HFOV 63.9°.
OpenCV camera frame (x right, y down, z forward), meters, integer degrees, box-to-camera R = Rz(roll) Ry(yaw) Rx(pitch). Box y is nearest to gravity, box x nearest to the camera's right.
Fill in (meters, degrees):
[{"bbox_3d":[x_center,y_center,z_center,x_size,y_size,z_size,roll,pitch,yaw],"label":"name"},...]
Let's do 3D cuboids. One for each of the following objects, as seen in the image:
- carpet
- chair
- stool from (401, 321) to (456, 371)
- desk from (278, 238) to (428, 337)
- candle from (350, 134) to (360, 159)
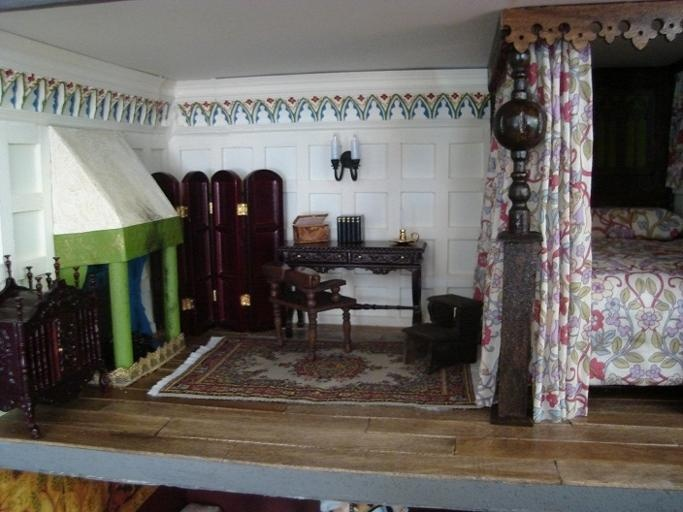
[{"bbox_3d":[-0.190,0.989,4.871,2.613,0.208,1.265,0,6,8],"label":"carpet"},{"bbox_3d":[-0.278,0.505,5.333,0.581,0.692,0.792,-3,5,-36],"label":"chair"},{"bbox_3d":[0.756,0.757,4.843,0.421,0.269,0.396,-12,17,-32],"label":"stool"},{"bbox_3d":[0.152,0.263,5.605,1.437,0.612,0.444,1,-8,18],"label":"desk"},{"bbox_3d":[0.140,-1.148,5.806,0.099,0.295,0.207,-2,7,1],"label":"candle"}]
